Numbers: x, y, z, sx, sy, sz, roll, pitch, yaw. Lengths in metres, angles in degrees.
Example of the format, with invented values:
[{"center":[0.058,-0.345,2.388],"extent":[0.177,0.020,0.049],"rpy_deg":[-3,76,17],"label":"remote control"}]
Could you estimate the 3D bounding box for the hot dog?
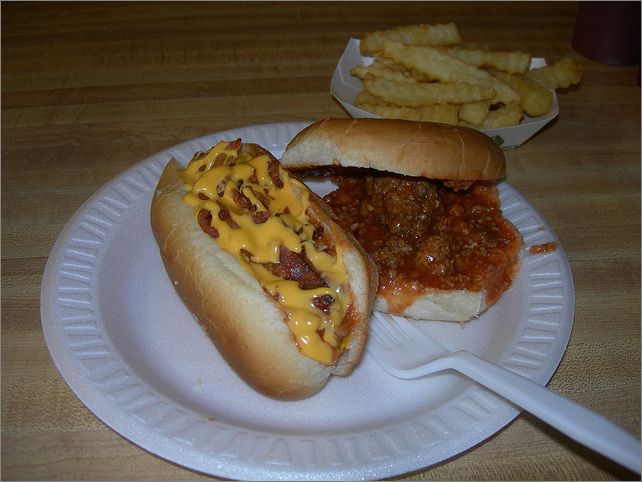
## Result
[{"center":[-0.398,0.019,3.301],"extent":[0.904,0.544,1.550],"rpy_deg":[-22,63,-25],"label":"hot dog"}]
